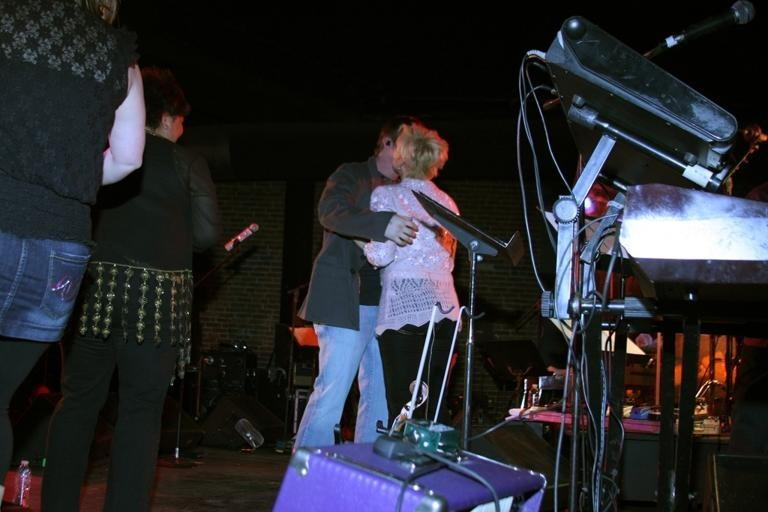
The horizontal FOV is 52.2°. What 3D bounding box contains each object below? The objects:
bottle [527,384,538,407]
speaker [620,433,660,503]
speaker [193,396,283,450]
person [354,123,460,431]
[{"bbox_3d":[1.032,0.954,5.408,0.077,0.174,0.275,2,-16,11],"label":"bottle"},{"bbox_3d":[1.508,1.248,4.638,0.202,0.378,0.184,1,-15,16],"label":"speaker"},{"bbox_3d":[-1.140,1.286,6.100,0.414,0.371,0.531,-14,-5,-17],"label":"speaker"},{"bbox_3d":[0.135,0.031,3.748,0.469,1.550,0.351,4,-14,2],"label":"person"}]
